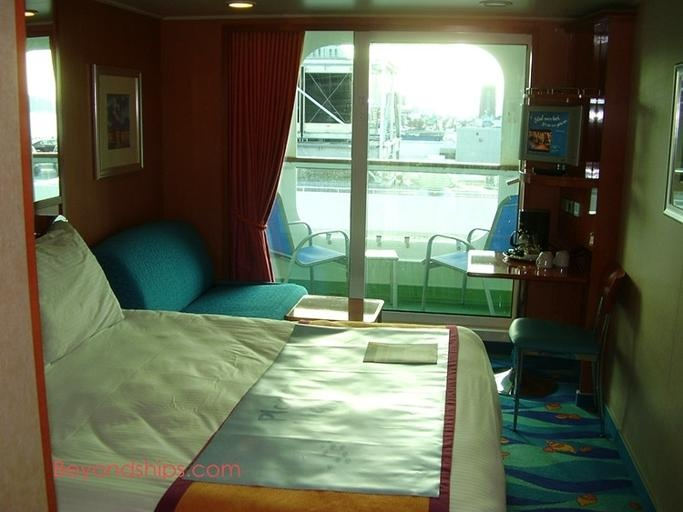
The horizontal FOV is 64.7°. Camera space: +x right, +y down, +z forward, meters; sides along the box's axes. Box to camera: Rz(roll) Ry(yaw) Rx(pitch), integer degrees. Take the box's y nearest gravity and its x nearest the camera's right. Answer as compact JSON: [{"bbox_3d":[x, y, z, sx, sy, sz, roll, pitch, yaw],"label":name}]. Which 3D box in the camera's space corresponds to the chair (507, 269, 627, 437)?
[{"bbox_3d":[1.394,0.515,4.013,0.953,1.405,0.803,2,6,11],"label":"chair"}]

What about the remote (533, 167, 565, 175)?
[{"bbox_3d":[1.546,-0.622,4.012,0.147,0.038,0.148,1,5,8],"label":"remote"}]

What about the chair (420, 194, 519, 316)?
[{"bbox_3d":[1.149,-0.036,4.635,0.903,1.366,0.884,5,9,23],"label":"chair"}]

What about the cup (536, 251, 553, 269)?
[{"bbox_3d":[1.491,0.031,3.925,0.123,0.122,0.096,4,12,23],"label":"cup"}]

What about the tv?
[{"bbox_3d":[1.536,-0.881,3.894,0.168,0.407,0.432,-11,18,-40],"label":"tv"}]

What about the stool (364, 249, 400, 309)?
[{"bbox_3d":[0.403,0.150,4.860,0.462,0.469,0.354,5,26,11],"label":"stool"}]
